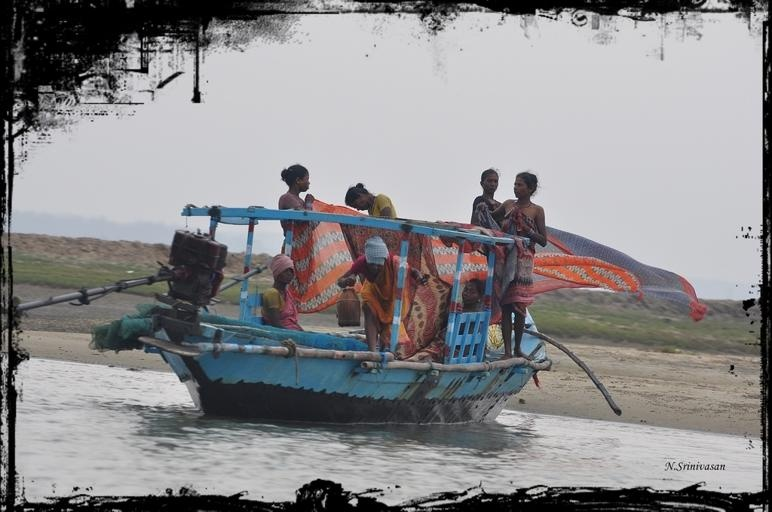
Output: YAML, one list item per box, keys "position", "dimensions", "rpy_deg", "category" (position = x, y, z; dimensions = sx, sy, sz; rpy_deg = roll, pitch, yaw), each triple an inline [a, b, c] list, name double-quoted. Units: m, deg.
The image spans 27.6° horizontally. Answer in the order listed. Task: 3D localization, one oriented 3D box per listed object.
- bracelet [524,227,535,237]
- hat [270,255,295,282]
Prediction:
- position: [2.667, -0.469, 29.434]
  dimensions: [0.192, 0.062, 0.132]
  rpy_deg: [27, 19, 17]
  category: "bracelet"
- position: [-1.829, 0.191, 28.472]
  dimensions: [0.600, 0.456, 0.433]
  rpy_deg: [6, 4, 13]
  category: "hat"
